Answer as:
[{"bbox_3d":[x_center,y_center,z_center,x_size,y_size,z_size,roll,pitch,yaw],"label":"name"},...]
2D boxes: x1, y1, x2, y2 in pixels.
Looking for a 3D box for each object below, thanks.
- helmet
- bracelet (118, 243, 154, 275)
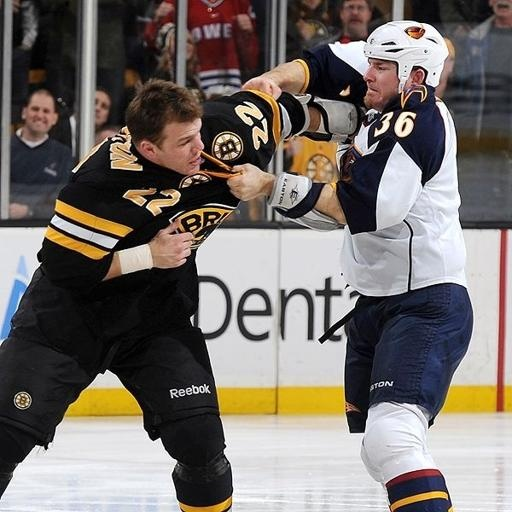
[{"bbox_3d":[0.509,-0.686,3.277,0.323,0.212,0.220,4,10,-1],"label":"helmet"},{"bbox_3d":[-0.395,0.007,3.118,0.139,0.078,0.042,-8,0,6],"label":"bracelet"}]
